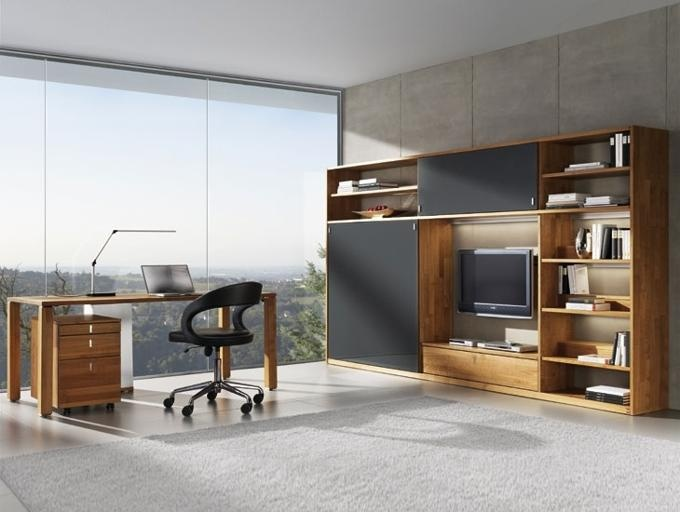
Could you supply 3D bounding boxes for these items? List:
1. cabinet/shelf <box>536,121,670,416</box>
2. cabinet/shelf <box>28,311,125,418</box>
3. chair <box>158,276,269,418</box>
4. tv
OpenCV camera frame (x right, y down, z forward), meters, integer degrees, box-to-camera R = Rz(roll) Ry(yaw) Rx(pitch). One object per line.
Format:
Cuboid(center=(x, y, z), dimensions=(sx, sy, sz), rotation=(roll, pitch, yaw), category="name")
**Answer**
Cuboid(center=(2.323, 0.120, 4.940), dimensions=(0.573, 2.408, 0.952), rotation=(0, 0, -44), category="cabinet/shelf")
Cuboid(center=(-2.093, 0.975, 4.910), dimensions=(0.706, 0.755, 0.699), rotation=(-2, -10, -17), category="cabinet/shelf")
Cuboid(center=(-1.215, 0.740, 5.214), dimensions=(1.079, 1.316, 1.153), rotation=(2, 0, 25), category="chair")
Cuboid(center=(1.611, 0.265, 5.703), dimensions=(0.080, 0.575, 0.777), rotation=(-1, 0, -40), category="tv")
